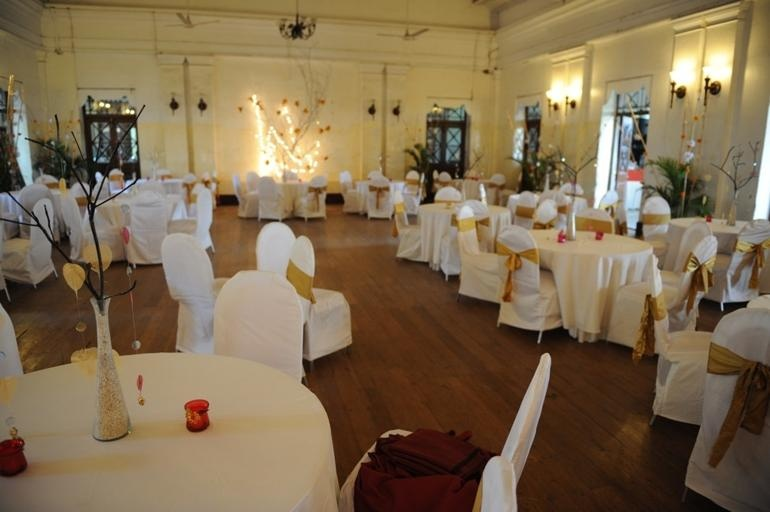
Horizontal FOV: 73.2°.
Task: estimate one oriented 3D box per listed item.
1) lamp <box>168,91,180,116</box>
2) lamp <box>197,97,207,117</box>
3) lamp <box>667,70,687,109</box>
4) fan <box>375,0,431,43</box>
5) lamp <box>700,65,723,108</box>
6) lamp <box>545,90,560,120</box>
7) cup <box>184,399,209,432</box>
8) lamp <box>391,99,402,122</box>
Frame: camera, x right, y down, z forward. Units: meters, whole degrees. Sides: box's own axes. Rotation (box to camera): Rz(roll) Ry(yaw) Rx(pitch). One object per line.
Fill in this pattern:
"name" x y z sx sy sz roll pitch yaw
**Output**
"lamp" -4.980 -3.576 12.230 0.144 0.548 0.069 -2 8 -11
"lamp" -4.370 -3.566 12.456 0.169 0.395 0.115 0 3 -2
"lamp" 4.712 -2.656 8.388 0.244 0.604 0.262 3 6 -35
"fan" 0.474 -5.693 13.247 1.032 1.309 1.114 14 22 41
"lamp" 4.917 -2.546 7.902 0.230 0.518 0.264 3 10 17
"lamp" 3.651 -3.336 11.396 0.169 0.537 0.581 -1 13 -6
"cup" -0.983 0.841 2.725 0.116 0.142 0.125 -1 1 0
"lamp" 0.293 -3.771 13.474 0.205 0.429 0.155 6 5 2
